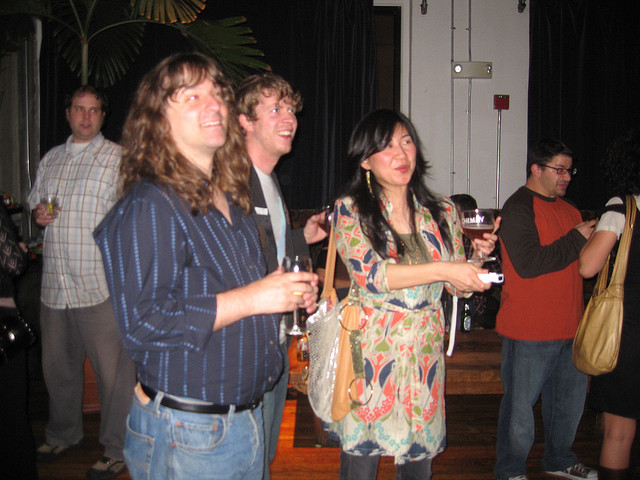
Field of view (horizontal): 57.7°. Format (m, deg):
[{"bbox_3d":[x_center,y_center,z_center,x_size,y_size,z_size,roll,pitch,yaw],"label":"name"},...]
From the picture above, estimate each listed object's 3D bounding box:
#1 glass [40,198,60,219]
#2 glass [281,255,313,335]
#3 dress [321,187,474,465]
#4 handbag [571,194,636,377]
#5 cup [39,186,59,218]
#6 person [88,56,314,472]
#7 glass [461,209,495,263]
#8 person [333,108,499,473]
[{"bbox_3d":[-1.776,-0.215,3.834,0.110,0.132,0.306,-3,8,-26],"label":"glass"},{"bbox_3d":[-0.110,0.275,2.721,0.137,0.431,0.362,0,7,-4],"label":"glass"},{"bbox_3d":[0.400,0.439,2.982,0.735,1.380,0.453,0,6,-3],"label":"dress"},{"bbox_3d":[1.605,0.252,3.271,0.298,1.009,0.172,2,7,14],"label":"handbag"},{"bbox_3d":[-1.801,-0.266,3.879,0.127,0.219,0.131,6,11,-1],"label":"cup"},{"bbox_3d":[-0.527,0.117,2.456,0.789,1.785,0.475,-2,7,-20],"label":"person"},{"bbox_3d":[0.846,-0.022,2.991,0.173,0.295,0.175,-4,3,16],"label":"glass"},{"bbox_3d":[0.429,0.246,2.978,0.722,1.815,0.534,0,6,0],"label":"person"}]
